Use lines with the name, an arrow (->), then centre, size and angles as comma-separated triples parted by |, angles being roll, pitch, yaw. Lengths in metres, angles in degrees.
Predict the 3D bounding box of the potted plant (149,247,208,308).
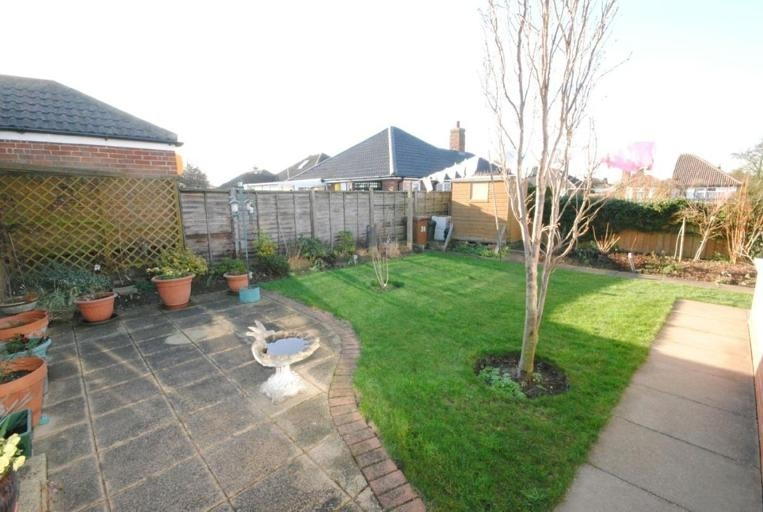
potted plant -> -4.544, 0.379, 9.331 | 1.442, 1.467, 1.373 | -3, 3, -44

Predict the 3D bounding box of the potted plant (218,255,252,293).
potted plant -> -3.590, 0.494, 9.989 | 0.741, 0.751, 0.753 | 6, 12, 15

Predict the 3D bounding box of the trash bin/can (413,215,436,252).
trash bin/can -> 1.635, -0.868, 15.488 | 0.637, 1.200, 1.441 | 2, 9, 16
